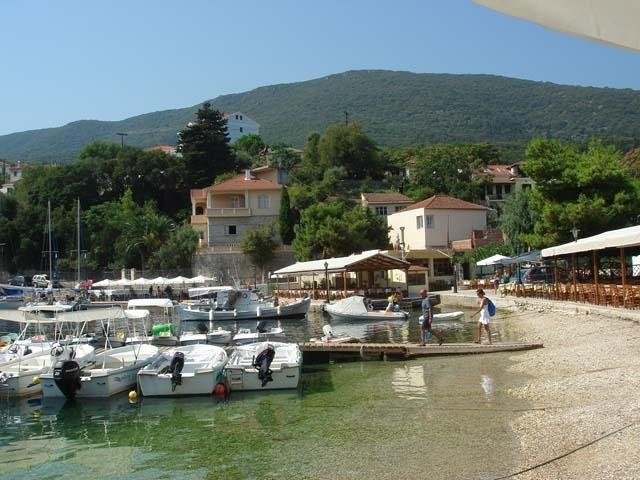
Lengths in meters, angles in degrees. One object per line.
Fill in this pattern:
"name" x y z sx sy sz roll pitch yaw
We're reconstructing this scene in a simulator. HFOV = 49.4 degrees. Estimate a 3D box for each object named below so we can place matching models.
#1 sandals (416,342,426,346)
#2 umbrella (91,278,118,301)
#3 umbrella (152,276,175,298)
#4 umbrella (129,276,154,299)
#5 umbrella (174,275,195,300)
"sandals" 4.269 4.363 29.215 0.177 0.139 0.435 -20 -17 20
"umbrella" -20.921 5.096 68.172 2.448 1.982 2.522 -2 4 -18
"umbrella" -14.439 4.635 64.021 2.114 1.812 2.307 -1 1 -7
"umbrella" -16.619 4.530 65.482 2.043 1.612 2.110 -2 2 -13
"umbrella" -13.102 4.693 66.173 2.472 2.013 2.603 -2 4 -1
